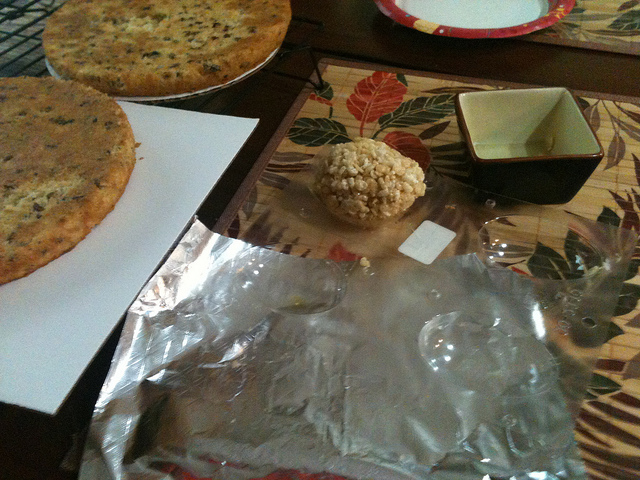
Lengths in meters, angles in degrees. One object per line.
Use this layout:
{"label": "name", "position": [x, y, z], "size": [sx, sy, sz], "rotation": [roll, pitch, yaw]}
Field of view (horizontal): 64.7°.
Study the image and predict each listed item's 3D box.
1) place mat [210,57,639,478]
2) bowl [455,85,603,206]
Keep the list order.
{"label": "place mat", "position": [0.111, -0.015, 0.926], "size": [0.767, 0.009, 0.664], "rotation": [18, 50, 20]}
{"label": "bowl", "position": [0.340, -0.156, 0.902], "size": [0.223, 0.126, 0.211], "rotation": [-3, 55, 4]}
